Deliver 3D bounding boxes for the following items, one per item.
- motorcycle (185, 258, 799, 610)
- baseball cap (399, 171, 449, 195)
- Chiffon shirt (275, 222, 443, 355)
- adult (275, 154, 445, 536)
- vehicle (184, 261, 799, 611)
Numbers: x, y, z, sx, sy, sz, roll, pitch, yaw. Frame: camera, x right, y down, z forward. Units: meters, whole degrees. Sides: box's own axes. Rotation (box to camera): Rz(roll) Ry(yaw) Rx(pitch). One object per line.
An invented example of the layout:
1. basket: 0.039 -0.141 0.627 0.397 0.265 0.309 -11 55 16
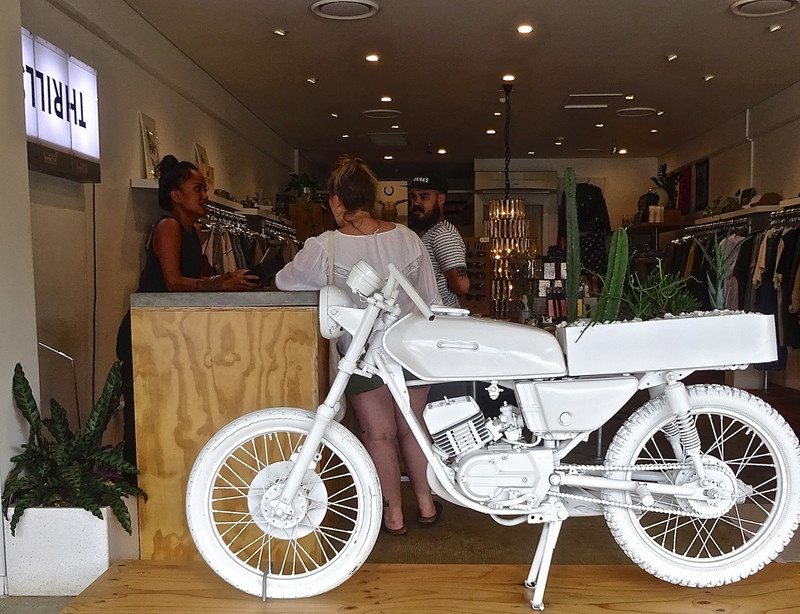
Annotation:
1. motorcycle: 0.446 0.621 3.289 2.947 1.778 1.134 0 -11 -2
2. baseball cap: 0.182 -0.807 4.311 0.186 0.100 0.142 5 5 -21
3. Chiffon shirt: -0.178 -0.151 3.300 0.809 0.604 0.407 -7 32 -13
4. adult: -0.160 0.149 3.460 0.773 1.945 0.670 -7 25 -6
5. vehicle: 0.493 0.588 3.266 2.944 1.788 1.134 0 -11 -2
